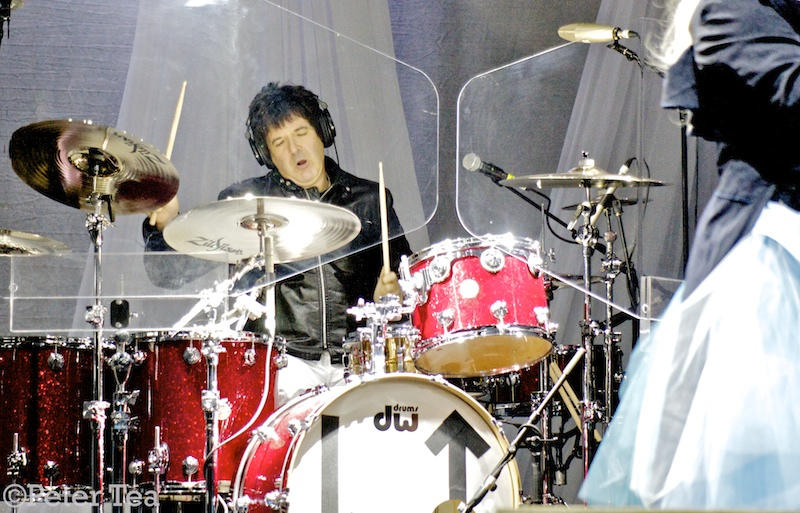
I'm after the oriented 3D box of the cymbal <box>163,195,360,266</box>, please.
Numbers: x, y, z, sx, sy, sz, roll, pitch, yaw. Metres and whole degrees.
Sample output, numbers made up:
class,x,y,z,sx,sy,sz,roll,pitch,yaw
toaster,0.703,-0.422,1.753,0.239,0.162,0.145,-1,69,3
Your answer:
class,x,y,z,sx,sy,sz,roll,pitch,yaw
cymbal,-0.461,-0.096,5.326,0.356,0.076,0.344,17,-37,-39

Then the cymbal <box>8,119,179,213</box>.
class,x,y,z,sx,sy,sz,roll,pitch,yaw
cymbal,-0.967,-0.272,5.240,0.530,0.142,0.445,2,-25,-13

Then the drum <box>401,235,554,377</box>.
class,x,y,z,sx,sy,sz,roll,pitch,yaw
drum,0.300,0.145,5.662,0.524,0.337,0.500,-4,-29,-2

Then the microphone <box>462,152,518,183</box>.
class,x,y,z,sx,sy,sz,roll,pitch,yaw
microphone,0.262,-0.273,5.141,0.223,0.069,0.061,19,-11,-30
